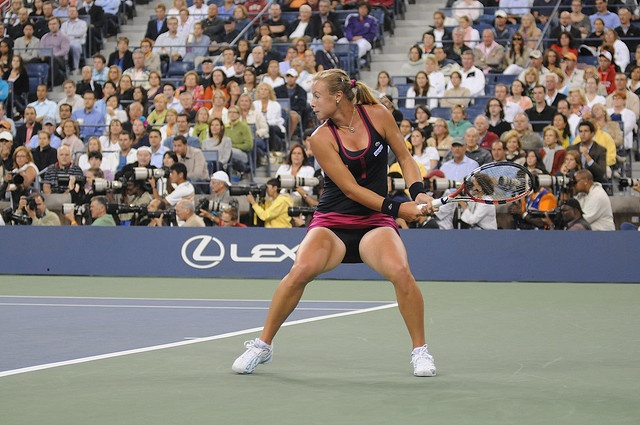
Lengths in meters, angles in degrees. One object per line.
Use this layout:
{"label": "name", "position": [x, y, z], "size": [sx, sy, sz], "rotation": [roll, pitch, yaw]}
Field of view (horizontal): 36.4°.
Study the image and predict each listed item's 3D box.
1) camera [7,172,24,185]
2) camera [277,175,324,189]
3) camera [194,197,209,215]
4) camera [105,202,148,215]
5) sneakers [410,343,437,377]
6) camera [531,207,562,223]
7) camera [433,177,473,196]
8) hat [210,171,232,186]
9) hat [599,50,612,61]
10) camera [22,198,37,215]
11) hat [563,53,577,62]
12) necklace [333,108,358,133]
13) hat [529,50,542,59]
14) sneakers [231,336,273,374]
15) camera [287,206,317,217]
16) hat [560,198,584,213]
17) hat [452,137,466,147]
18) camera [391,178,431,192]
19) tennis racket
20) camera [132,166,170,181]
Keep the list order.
{"label": "camera", "position": [-4.820, -0.526, 15.429], "size": [0.166, 0.267, 0.202], "rotation": [5, 8, -17]}
{"label": "camera", "position": [-0.268, -0.425, 13.814], "size": [0.557, 0.185, 0.204], "rotation": [0, -2, -21]}
{"label": "camera", "position": [-1.838, -0.105, 14.837], "size": [0.115, 0.321, 0.200], "rotation": [34, -17, 13]}
{"label": "camera", "position": [-2.927, -0.069, 14.829], "size": [0.596, 0.201, 0.282], "rotation": [-7, 12, -11]}
{"label": "sneakers", "position": [1.028, 1.483, 9.902], "size": [0.255, 0.219, 0.536], "rotation": [-2, 14, -5]}
{"label": "camera", "position": [3.276, 0.044, 14.282], "size": [0.454, 0.196, 0.183], "rotation": [-3, 13, 8]}
{"label": "camera", "position": [1.746, -0.353, 13.158], "size": [0.732, 0.166, 0.194], "rotation": [0, 1, -37]}
{"label": "hat", "position": [-1.571, -0.547, 15.182], "size": [0.328, 0.166, 0.234], "rotation": [15, 5, 20]}
{"label": "hat", "position": [5.427, -2.971, 18.554], "size": [0.247, 0.185, 0.336], "rotation": [0, 13, 19]}
{"label": "camera", "position": [-4.533, -0.092, 15.308], "size": [0.248, 0.228, 0.243], "rotation": [-1, -6, -7]}
{"label": "hat", "position": [4.734, -2.951, 18.471], "size": [0.237, 0.173, 0.176], "rotation": [-2, 7, 3]}
{"label": "necklace", "position": [0.307, -0.939, 9.980], "size": [0.185, 0.236, 0.062], "rotation": [-2, -1, -33]}
{"label": "hat", "position": [4.104, -3.011, 18.578], "size": [0.266, 0.121, 0.384], "rotation": [2, 6, 18]}
{"label": "sneakers", "position": [-0.676, 1.475, 9.965], "size": [0.494, 0.236, 0.234], "rotation": [-34, -10, -7]}
{"label": "camera", "position": [-0.276, -0.021, 14.565], "size": [0.337, 0.126, 0.199], "rotation": [0, 7, -2]}
{"label": "hat", "position": [3.713, -0.113, 14.399], "size": [0.259, 0.191, 0.182], "rotation": [16, 14, -3]}
{"label": "hat", "position": [2.256, -1.143, 15.823], "size": [0.256, 0.150, 0.180], "rotation": [-8, 13, -18]}
{"label": "camera", "position": [1.354, -0.409, 14.278], "size": [0.709, 0.179, 0.193], "rotation": [0, 3, -16]}
{"label": "tennis racket", "position": [1.689, -0.286, 9.869], "size": [1.039, 0.427, 0.357], "rotation": [-7, 13, -12]}
{"label": "camera", "position": [-2.603, -0.604, 15.051], "size": [0.553, 0.231, 0.328], "rotation": [-7, 13, -12]}
